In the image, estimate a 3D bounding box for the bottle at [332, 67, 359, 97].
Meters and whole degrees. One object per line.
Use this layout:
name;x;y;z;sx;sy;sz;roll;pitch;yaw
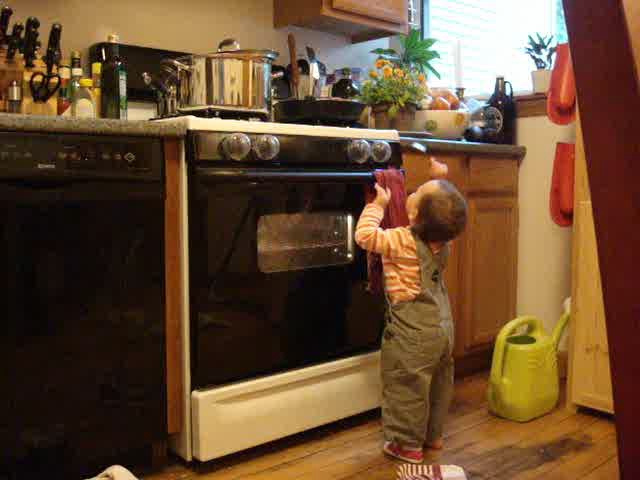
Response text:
bottle;0.104;-0.623;2.293;0.107;0.081;0.049;1;8;5

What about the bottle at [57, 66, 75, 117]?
bottle;-0.876;-0.500;1.949;0.061;0.243;0.062;6;18;-2

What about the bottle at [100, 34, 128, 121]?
bottle;-0.734;-0.583;2.010;0.097;0.291;0.073;-6;10;-39

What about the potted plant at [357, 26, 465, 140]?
potted plant;0.359;-0.686;2.465;0.507;0.370;0.379;-5;19;-42

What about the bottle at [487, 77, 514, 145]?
bottle;0.831;-0.587;2.556;0.154;0.297;0.089;-7;10;-41

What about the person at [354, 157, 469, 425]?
person;0.270;0.196;1.707;0.314;0.755;0.164;2;8;15

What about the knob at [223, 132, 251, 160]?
knob;-0.237;-0.266;1.605;0.074;0.072;0.037;-1;8;-11

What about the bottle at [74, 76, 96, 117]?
bottle;-0.825;-0.509;1.988;0.072;0.147;0.184;-3;9;-20

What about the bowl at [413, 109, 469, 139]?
bowl;0.537;-0.503;2.434;0.285;0.129;0.094;-4;9;-24

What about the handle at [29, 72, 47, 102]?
handle;-0.939;-0.512;1.881;0.051;0.098;0.041;-4;9;-27

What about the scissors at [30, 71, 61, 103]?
scissors;-0.927;-0.517;1.898;0.015;0.119;0.104;25;21;29

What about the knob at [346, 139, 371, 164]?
knob;0.126;-0.290;1.846;0.078;0.080;0.059;1;8;6

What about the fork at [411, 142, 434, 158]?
fork;0.376;-0.338;2.079;0.068;0.018;0.064;31;4;-12

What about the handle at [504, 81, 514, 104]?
handle;0.864;-0.674;2.578;0.043;0.105;0.137;3;9;18

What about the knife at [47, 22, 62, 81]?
knife;-0.888;-0.631;1.889;0.066;0.189;0.044;5;9;35

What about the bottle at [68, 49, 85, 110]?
bottle;-0.844;-0.543;1.964;0.056;0.220;0.049;-2;5;-37

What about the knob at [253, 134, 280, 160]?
knob;-0.157;-0.275;1.660;0.075;0.073;0.067;0;8;-4

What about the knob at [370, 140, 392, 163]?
knob;0.212;-0.298;1.895;0.044;0.068;0.122;8;11;43
